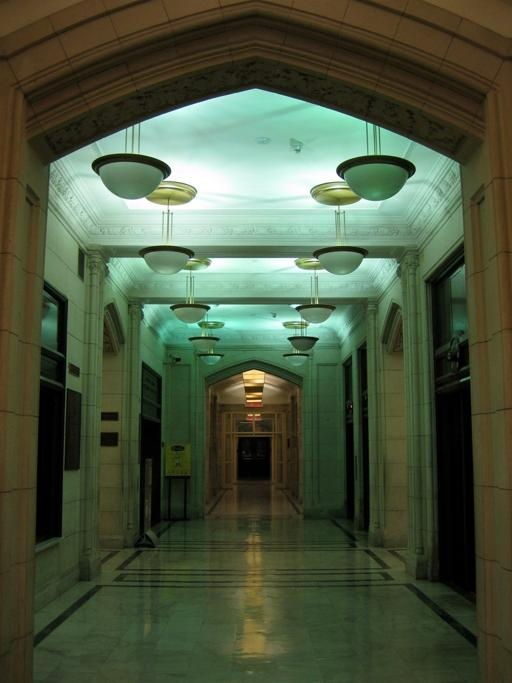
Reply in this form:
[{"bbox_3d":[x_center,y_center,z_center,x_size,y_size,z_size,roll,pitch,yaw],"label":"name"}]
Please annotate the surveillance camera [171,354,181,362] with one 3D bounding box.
[{"bbox_3d":[-2.202,0.426,15.944,0.203,0.136,0.200,2,3,1],"label":"surveillance camera"}]
